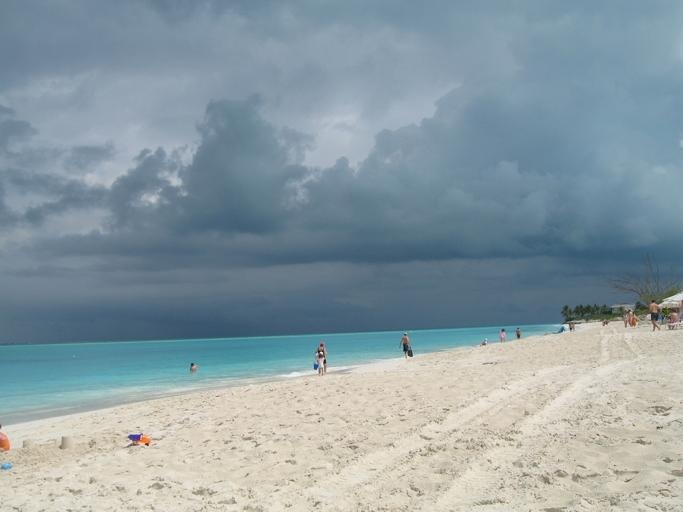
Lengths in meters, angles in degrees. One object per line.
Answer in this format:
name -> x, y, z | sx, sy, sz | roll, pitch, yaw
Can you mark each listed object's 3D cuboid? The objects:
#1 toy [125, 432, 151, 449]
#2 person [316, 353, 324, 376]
toy -> -8.255, 7.455, 21.780 | 1.175, 0.463, 0.573 | -7, -6, 23
person -> -1.577, 8.170, 40.750 | 0.524, 1.751, 1.079 | -4, -5, -1
